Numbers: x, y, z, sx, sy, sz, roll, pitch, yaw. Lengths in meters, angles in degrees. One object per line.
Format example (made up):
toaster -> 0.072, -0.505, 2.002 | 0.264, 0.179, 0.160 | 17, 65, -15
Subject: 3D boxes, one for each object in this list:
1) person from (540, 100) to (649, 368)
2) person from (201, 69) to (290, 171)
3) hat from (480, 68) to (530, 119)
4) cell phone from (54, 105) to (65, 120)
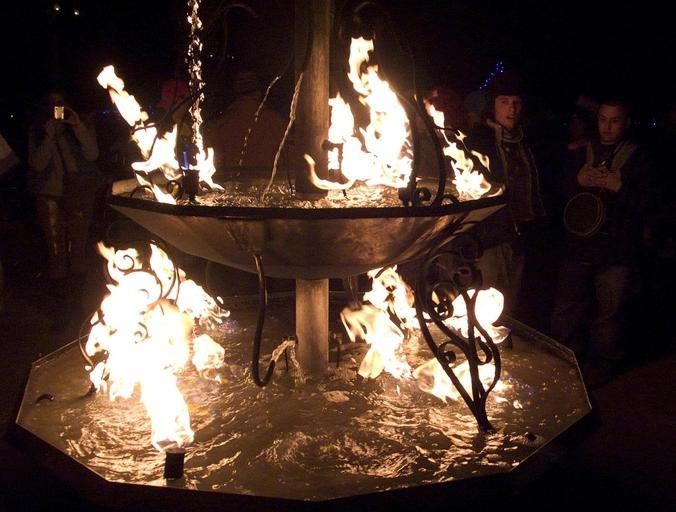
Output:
person -> 1.890, -0.166, 4.740 | 0.637, 1.513, 0.423 | 2, 1, 22
person -> -0.871, -1.238, 6.177 | 0.987, 1.057, 0.986 | -1, 20, -5
hat -> 1.266, -1.256, 5.007 | 0.310, 0.249, 0.222 | 2, 1, 21
cell phone -> -2.468, -1.286, 5.808 | 0.097, 0.136, 0.110 | 0, 7, -10
